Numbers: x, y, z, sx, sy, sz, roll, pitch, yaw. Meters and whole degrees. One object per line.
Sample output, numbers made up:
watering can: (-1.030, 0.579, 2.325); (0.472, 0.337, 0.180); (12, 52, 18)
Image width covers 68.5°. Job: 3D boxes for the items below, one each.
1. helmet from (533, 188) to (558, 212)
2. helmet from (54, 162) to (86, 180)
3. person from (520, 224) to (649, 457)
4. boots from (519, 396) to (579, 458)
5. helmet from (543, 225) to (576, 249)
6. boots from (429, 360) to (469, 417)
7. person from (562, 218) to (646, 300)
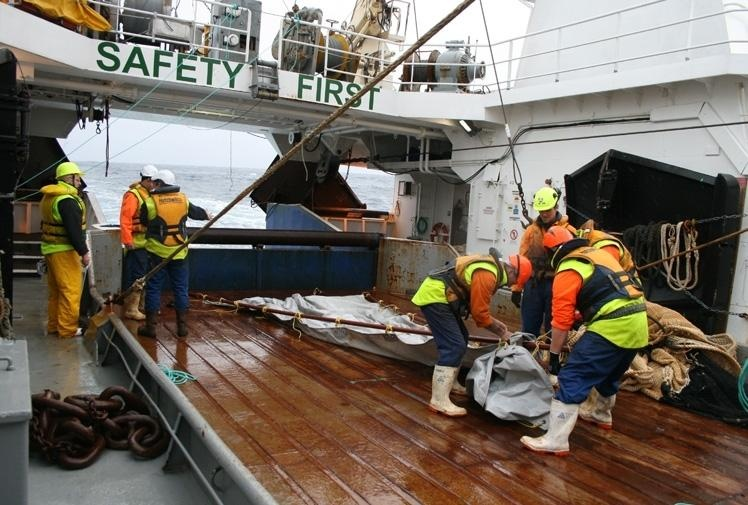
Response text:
helmet: (2.416, -0.725, 7.673); (0.314, 0.238, 0.432); (6, 40, 35)
helmet: (-4.484, -1.199, 8.064); (0.353, 0.172, 0.272); (-7, 10, -41)
person: (2.273, 0.951, 5.850); (1.073, 2.240, 1.296); (11, 16, 31)
boots: (1.849, 1.843, 5.769); (0.572, 0.557, 0.288); (1, -8, 23)
helmet: (2.058, -0.170, 6.240); (0.233, 0.258, 0.302); (-30, 4, -25)
boots: (0.798, 1.610, 6.388); (0.653, 0.741, 0.339); (1, 4, 8)
person: (2.991, 0.024, 7.034); (1.112, 1.050, 0.895); (-8, 35, 23)
